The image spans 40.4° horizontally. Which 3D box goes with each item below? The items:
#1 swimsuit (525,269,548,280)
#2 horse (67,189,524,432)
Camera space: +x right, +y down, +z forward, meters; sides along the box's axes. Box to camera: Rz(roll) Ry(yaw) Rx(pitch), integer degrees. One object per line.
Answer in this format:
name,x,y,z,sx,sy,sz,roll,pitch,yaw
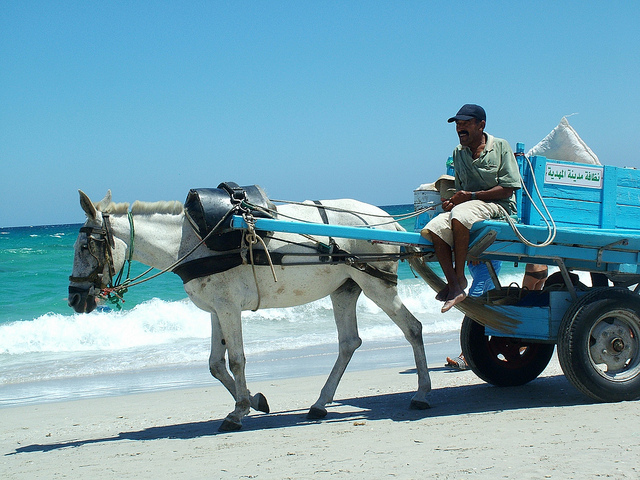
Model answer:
swimsuit,3.642,0.576,14.480,0.287,0.173,0.191,0,-5,-16
horse,-0.588,0.789,11.142,5.069,2.658,0.848,-4,2,-9
